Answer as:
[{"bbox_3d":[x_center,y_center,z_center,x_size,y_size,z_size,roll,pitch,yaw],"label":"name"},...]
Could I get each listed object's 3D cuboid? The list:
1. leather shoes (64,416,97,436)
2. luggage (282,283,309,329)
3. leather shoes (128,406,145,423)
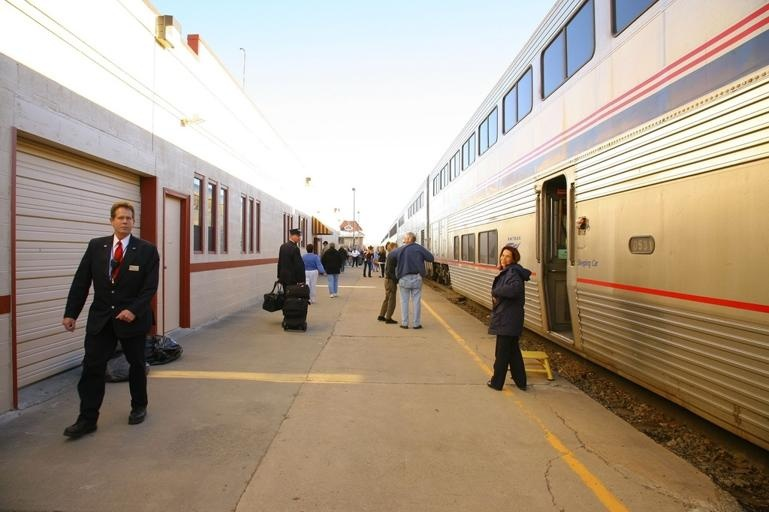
[{"bbox_3d":[-3.633,2.064,5.730,0.166,0.169,0.368,1,-12,23],"label":"leather shoes"},{"bbox_3d":[-1.972,1.149,10.478,0.553,1.039,0.488,-2,13,-12],"label":"luggage"},{"bbox_3d":[-3.122,2.010,6.002,0.100,0.109,0.277,6,5,-2],"label":"leather shoes"}]
